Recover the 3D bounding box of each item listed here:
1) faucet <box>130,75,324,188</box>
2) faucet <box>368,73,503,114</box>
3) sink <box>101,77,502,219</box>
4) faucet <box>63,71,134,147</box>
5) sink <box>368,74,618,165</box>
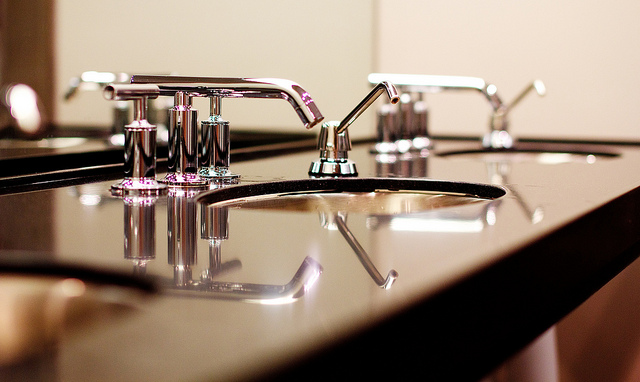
[{"bbox_3d":[-0.091,-0.123,1.174,0.467,0.260,0.159,0,5,5],"label":"faucet"},{"bbox_3d":[0.368,-0.302,1.871,0.388,0.113,0.287,5,14,14],"label":"faucet"},{"bbox_3d":[-0.050,-0.124,1.359,0.768,0.272,0.718,-1,14,-12],"label":"sink"},{"bbox_3d":[-0.463,-0.171,1.265,0.113,0.161,0.124,-1,14,-8],"label":"faucet"},{"bbox_3d":[0.614,-0.258,2.076,0.491,0.247,0.696,7,2,-39],"label":"sink"}]
